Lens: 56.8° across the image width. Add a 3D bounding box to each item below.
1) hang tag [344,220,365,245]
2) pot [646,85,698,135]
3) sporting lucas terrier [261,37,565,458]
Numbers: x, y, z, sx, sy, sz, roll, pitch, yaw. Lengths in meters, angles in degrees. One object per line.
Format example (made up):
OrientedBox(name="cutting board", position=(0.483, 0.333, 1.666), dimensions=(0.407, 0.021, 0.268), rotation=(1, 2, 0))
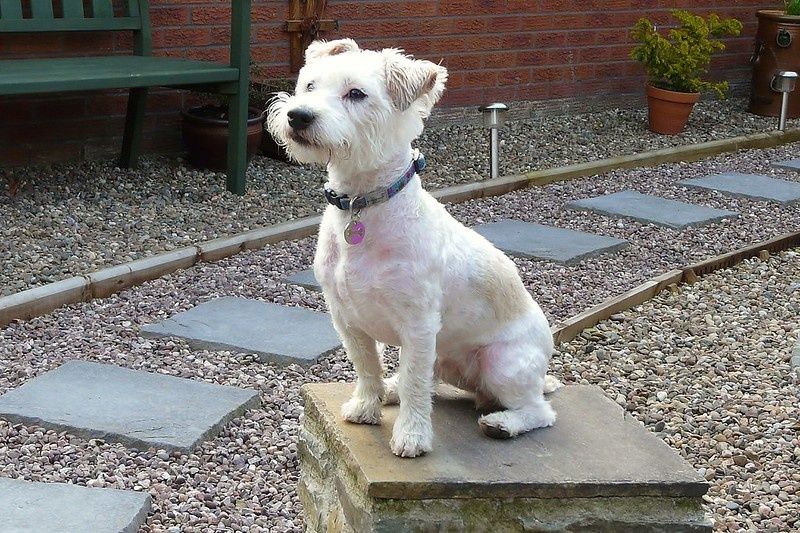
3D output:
OrientedBox(name="hang tag", position=(-0.154, -0.116, 2.556), dimensions=(0.106, 0.082, 0.015), rotation=(-2, -3, 7))
OrientedBox(name="pot", position=(3.304, -1.886, 9.172), dimensions=(0.732, 0.454, 0.644), rotation=(7, 8, -2))
OrientedBox(name="sporting lucas terrier", position=(0.081, -0.089, 2.690), dimensions=(0.724, 1.328, 0.949), rotation=(-18, 29, -40))
